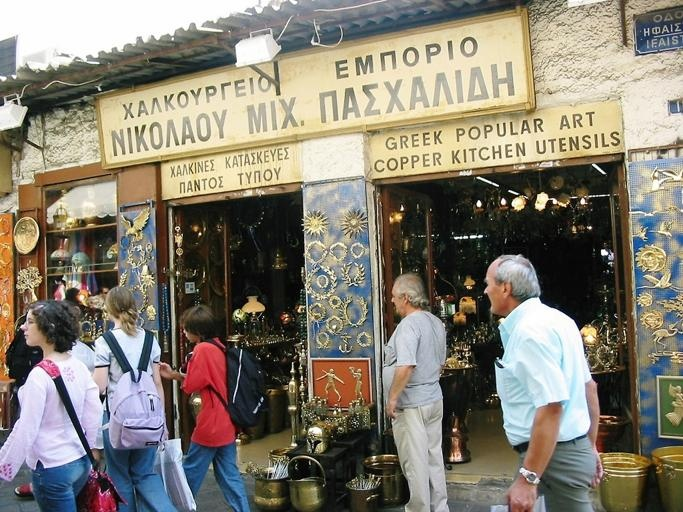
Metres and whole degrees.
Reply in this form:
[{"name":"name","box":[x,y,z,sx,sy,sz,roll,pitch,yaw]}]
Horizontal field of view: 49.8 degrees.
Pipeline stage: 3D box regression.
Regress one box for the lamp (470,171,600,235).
[{"name":"lamp","box":[3.259,-0.824,12.188,1.921,0.774,3.700,-6,-5,25]}]

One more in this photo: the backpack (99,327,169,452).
[{"name":"backpack","box":[-1.816,1.170,6.414,0.505,1.044,0.419,-2,-5,-19]}]

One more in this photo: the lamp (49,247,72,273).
[{"name":"lamp","box":[-3.728,0.092,9.778,0.305,0.400,0.319,-1,-9,2]}]

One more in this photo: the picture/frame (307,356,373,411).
[{"name":"picture/frame","box":[0.012,1.361,7.771,0.536,0.415,0.047,-1,-2,24]}]

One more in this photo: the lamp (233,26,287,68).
[{"name":"lamp","box":[-0.882,-2.170,7.711,0.426,0.386,0.400,-7,7,10]}]

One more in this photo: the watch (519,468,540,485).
[{"name":"watch","box":[1.209,1.425,4.748,0.080,0.048,0.079,33,-3,15]}]

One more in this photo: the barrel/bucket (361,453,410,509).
[{"name":"barrel/bucket","box":[0.455,2.212,7.253,0.394,0.363,0.403,-6,-13,-1]}]

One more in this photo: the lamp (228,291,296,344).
[{"name":"lamp","box":[-1.224,0.929,10.591,0.672,0.470,0.733,-4,-2,11]}]

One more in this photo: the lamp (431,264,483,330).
[{"name":"lamp","box":[1.767,0.665,11.429,0.479,0.785,1.071,-5,-4,30]}]
